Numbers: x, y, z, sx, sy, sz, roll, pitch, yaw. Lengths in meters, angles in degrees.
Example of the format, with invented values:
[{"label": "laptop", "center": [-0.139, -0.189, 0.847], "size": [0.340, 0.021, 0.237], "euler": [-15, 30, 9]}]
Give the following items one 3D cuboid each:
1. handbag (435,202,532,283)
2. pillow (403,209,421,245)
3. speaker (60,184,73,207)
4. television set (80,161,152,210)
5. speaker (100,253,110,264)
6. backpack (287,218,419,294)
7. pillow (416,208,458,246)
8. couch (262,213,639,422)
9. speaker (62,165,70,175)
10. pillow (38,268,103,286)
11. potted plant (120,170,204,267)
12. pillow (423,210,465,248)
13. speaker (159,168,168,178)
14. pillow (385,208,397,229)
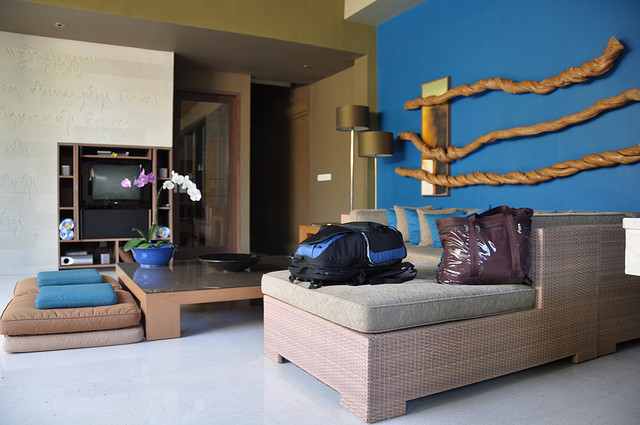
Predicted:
[{"label": "handbag", "center": [1.177, 0.252, 3.277], "size": [0.734, 0.551, 0.270], "euler": [-1, -1, -11]}, {"label": "pillow", "center": [1.057, 0.175, 5.262], "size": [0.169, 0.412, 0.424], "euler": [-5, -2, 31]}, {"label": "speaker", "center": [-3.579, -0.248, 6.509], "size": [0.057, 0.312, 0.155], "euler": [8, 12, 40]}, {"label": "television set", "center": [-2.983, -0.389, 6.624], "size": [0.976, 0.689, 0.541], "euler": [0, 4, -38]}, {"label": "speaker", "center": [-2.982, 0.644, 6.408], "size": [0.104, 0.124, 0.120], "euler": [-5, 10, -29]}, {"label": "backpack", "center": [0.230, 0.265, 3.285], "size": [0.622, 0.299, 0.606], "euler": [0, -4, -33]}, {"label": "pillow", "center": [1.105, 0.149, 4.416], "size": [0.156, 0.304, 0.412], "euler": [13, 6, 39]}, {"label": "couch", "center": [1.067, 0.581, 3.463], "size": [2.343, 0.793, 1.346], "euler": [0, -1, -25]}, {"label": "speaker", "center": [-3.425, -0.580, 6.291], "size": [0.101, 0.112, 0.124], "euler": [0, -2, 1]}, {"label": "pillow", "center": [-2.263, 0.592, 4.154], "size": [0.579, 0.087, 0.474], "euler": [-2, 9, -15]}, {"label": "potted plant", "center": [-1.709, 0.049, 4.792], "size": [1.092, 0.972, 0.693], "euler": [2, -1, 23]}, {"label": "pillow", "center": [1.073, 0.151, 4.050], "size": [0.400, 0.318, 0.123], "euler": [-3, -26, -27]}, {"label": "speaker", "center": [-2.281, -0.575, 6.718], "size": [0.144, 0.120, 0.131], "euler": [3, 5, 12]}, {"label": "pillow", "center": [0.808, 0.071, 5.221], "size": [0.086, 0.211, 0.227], "euler": [-8, -10, 31]}]
